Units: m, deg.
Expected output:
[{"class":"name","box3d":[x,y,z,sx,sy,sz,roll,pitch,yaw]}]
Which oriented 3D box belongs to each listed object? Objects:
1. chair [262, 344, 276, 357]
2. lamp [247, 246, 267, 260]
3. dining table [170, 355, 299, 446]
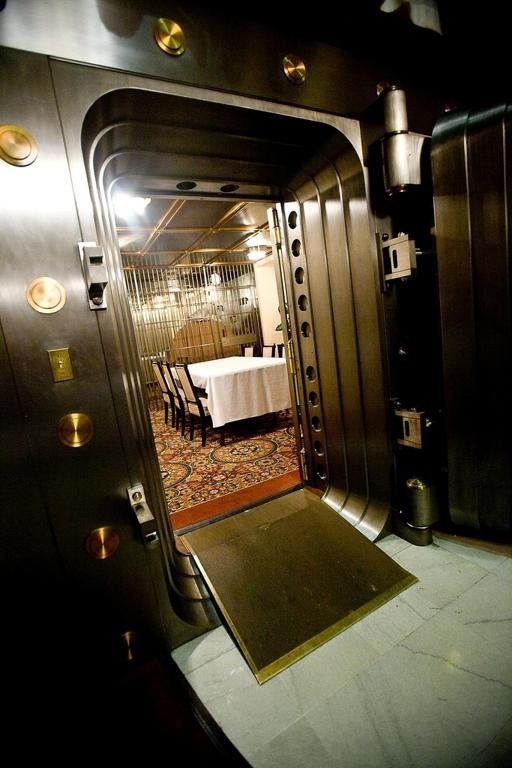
[{"class":"chair","box3d":[0.173,-0.428,6.914,0.170,0.229,0.204,-1,-6,2]},{"class":"lamp","box3d":[0.005,-1.698,6.650,0.290,0.101,0.302,-18,19,2]},{"class":"dining table","box3d":[-0.136,0.126,4.834,0.805,0.671,1.117,-14,9,-15]}]
